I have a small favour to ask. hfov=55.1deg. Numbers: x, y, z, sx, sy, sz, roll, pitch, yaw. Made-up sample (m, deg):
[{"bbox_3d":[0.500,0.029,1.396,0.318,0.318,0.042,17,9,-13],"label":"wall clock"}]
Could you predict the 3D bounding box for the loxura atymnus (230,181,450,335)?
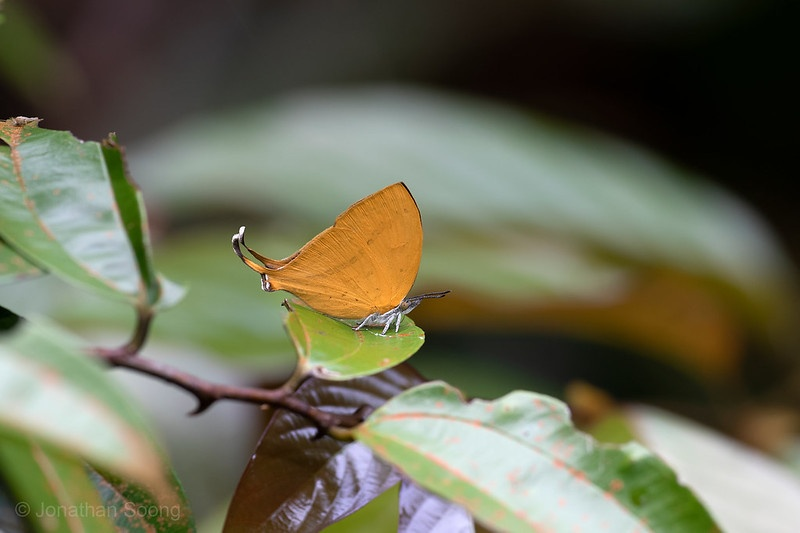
[{"bbox_3d":[-0.080,-0.010,1.241,0.306,0.245,0.156,16,32,2],"label":"loxura atymnus"}]
